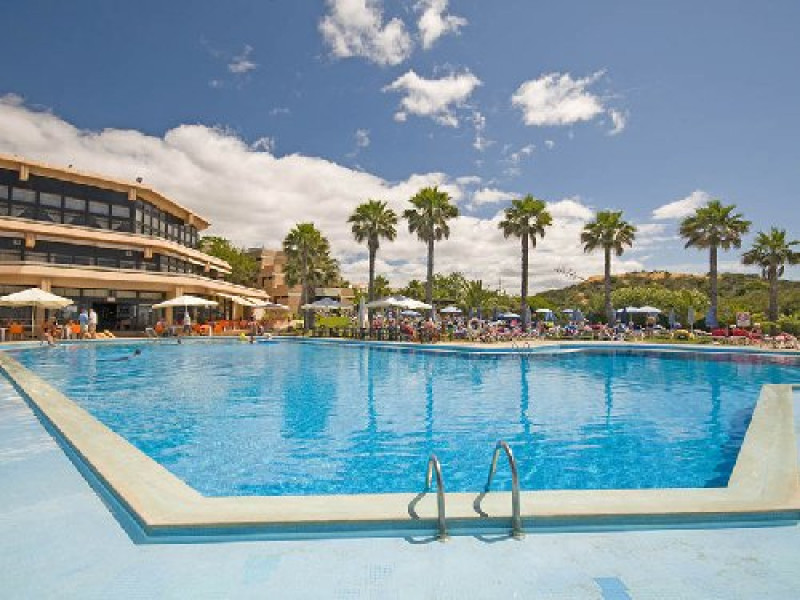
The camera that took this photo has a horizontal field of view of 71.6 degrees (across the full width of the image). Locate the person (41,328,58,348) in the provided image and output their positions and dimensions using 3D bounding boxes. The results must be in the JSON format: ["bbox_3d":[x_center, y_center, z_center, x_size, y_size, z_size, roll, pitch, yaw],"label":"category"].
[{"bbox_3d":[-17.740,1.939,28.069,0.307,0.687,0.986,4,8,-21],"label":"person"}]
